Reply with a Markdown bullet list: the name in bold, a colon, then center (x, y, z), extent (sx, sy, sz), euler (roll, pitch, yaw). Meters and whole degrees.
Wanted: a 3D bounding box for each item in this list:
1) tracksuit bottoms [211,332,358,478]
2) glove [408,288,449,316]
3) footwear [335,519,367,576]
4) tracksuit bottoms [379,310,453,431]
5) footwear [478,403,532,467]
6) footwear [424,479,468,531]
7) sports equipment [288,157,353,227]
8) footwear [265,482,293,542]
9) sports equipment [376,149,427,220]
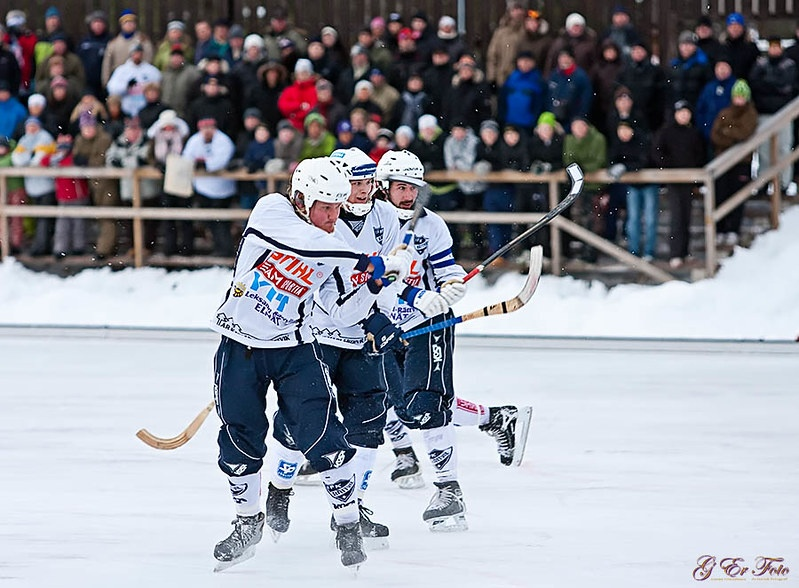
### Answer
- **tracksuit bottoms**: center (-0.821, 0.687, 10.700), extent (1.081, 1.213, 0.408), euler (1, 21, 18)
- **glove**: center (0.200, 0.067, 11.008), extent (0.195, 0.070, 0.192), euler (5, 38, -45)
- **footwear**: center (-0.335, 1.636, 10.521), extent (0.129, 0.199, 0.380), euler (-13, 44, -4)
- **tracksuit bottoms**: center (0.155, 0.532, 11.233), extent (0.494, 0.783, 0.316), euler (-9, -3, 29)
- **footwear**: center (0.781, 0.984, 11.516), extent (0.380, 0.606, 0.204), euler (-4, 7, -6)
- **footwear**: center (0.302, 1.443, 10.964), extent (0.293, 0.268, 0.300), euler (0, 11, 1)
- **sports equipment**: center (-0.513, -0.686, 10.550), extent (0.434, 0.407, 0.348), euler (13, 27, 28)
- **footwear**: center (-0.844, 1.465, 10.900), extent (0.119, 0.163, 0.381), euler (21, 18, -21)
- **sports equipment**: center (-0.084, -0.782, 11.268), extent (0.354, 0.452, 0.456), euler (-2, 4, -26)
